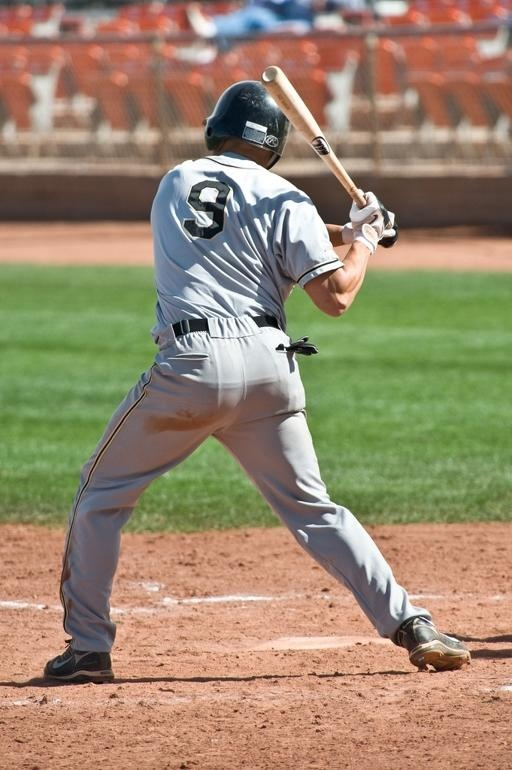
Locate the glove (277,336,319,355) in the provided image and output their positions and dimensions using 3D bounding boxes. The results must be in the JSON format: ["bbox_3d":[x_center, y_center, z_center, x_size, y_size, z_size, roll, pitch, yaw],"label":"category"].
[{"bbox_3d":[0.111,-0.105,2.886,0.088,0.029,0.059,2,0,4],"label":"glove"}]

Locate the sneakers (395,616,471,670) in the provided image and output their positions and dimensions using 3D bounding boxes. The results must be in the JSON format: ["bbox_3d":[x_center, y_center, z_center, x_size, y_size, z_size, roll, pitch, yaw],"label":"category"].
[{"bbox_3d":[0.528,0.725,2.958,0.312,0.104,0.138,27,26,-53],"label":"sneakers"}]

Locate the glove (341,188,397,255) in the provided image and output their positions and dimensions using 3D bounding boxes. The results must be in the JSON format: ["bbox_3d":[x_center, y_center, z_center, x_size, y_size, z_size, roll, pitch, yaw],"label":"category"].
[{"bbox_3d":[0.357,-0.496,3.287,0.115,0.133,0.316,-35,3,10],"label":"glove"}]

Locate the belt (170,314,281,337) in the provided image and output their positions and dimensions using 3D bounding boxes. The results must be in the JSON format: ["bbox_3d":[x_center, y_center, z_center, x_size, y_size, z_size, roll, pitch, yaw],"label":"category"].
[{"bbox_3d":[-0.087,-0.157,2.862,0.283,0.067,0.096,2,7,-4],"label":"belt"}]

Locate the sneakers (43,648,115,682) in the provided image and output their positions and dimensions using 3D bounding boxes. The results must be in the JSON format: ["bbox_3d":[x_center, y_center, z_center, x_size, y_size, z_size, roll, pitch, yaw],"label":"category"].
[{"bbox_3d":[-0.509,0.810,3.093,0.234,0.090,0.085,-2,-9,27],"label":"sneakers"}]

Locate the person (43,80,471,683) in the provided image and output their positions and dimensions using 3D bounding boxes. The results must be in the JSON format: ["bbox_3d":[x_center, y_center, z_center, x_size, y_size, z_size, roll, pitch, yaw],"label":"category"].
[{"bbox_3d":[-0.016,0.017,2.991,1.117,1.743,0.434,4,9,6],"label":"person"}]

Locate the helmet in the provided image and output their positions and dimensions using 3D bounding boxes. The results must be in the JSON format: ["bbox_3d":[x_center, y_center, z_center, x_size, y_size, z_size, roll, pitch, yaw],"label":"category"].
[{"bbox_3d":[-0.048,-0.764,3.079,0.214,0.198,0.244,18,28,-15],"label":"helmet"}]
